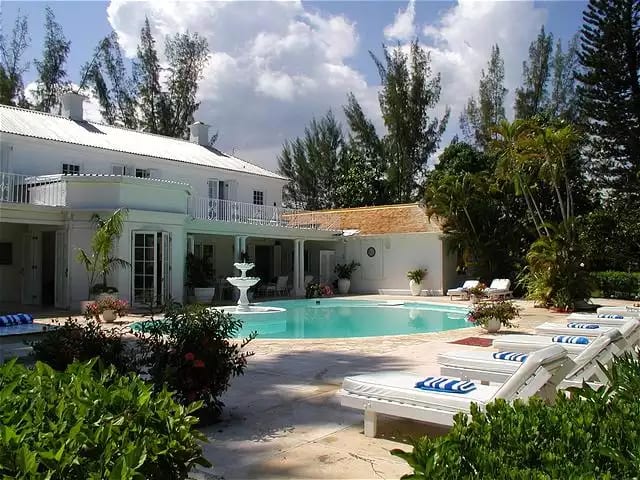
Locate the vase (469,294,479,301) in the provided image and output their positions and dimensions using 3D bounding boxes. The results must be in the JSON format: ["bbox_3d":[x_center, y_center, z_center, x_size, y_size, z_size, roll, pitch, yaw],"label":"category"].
[{"bbox_3d":[6.961,2.555,20.949,0.272,0.316,0.298,-1,-4,16],"label":"vase"}]

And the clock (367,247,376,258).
[{"bbox_3d":[2.914,0.669,26.440,0.104,0.568,0.572,2,-3,-44],"label":"clock"}]

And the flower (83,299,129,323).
[{"bbox_3d":[-5.858,1.917,12.746,1.017,0.719,1.168,0,-1,-42],"label":"flower"}]

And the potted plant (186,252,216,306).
[{"bbox_3d":[-4.970,1.537,19.236,1.102,2.041,0.741,1,-2,-21],"label":"potted plant"}]

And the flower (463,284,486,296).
[{"bbox_3d":[6.987,2.254,21.123,0.664,0.459,0.730,1,5,22],"label":"flower"}]

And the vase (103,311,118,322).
[{"bbox_3d":[-6.086,2.177,13.493,0.375,0.360,0.423,5,4,-13],"label":"vase"}]

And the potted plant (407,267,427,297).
[{"bbox_3d":[4.957,2.181,24.742,1.160,1.679,1.177,3,-1,-10],"label":"potted plant"}]

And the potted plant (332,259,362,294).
[{"bbox_3d":[1.446,2.062,26.939,1.214,1.909,1.248,2,-2,-34],"label":"potted plant"}]
